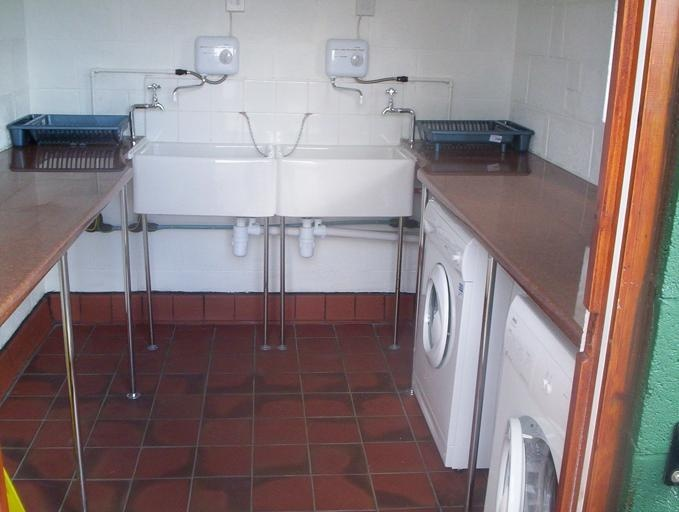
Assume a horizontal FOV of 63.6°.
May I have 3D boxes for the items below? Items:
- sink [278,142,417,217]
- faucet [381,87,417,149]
[{"bbox_3d":[0.033,-0.346,2.763,0.709,0.298,0.098,-1,14,1],"label":"sink"},{"bbox_3d":[0.339,-0.782,3.075,0.194,0.317,0.221,0,15,6],"label":"faucet"}]
